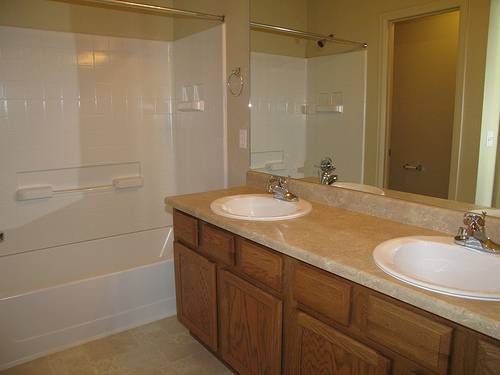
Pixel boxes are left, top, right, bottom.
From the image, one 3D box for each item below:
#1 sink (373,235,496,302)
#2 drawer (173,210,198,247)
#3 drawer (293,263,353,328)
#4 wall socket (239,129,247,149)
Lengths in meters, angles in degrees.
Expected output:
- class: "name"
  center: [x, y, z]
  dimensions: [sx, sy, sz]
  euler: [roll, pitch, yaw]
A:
- class: "sink"
  center: [0.729, 0.327, 1.443]
  dimensions: [0.427, 0.147, 0.449]
  euler: [9, 16, 36]
- class: "drawer"
  center: [-0.363, 0.254, 2.336]
  dimensions: [0.146, 0.186, 0.273]
  euler: [-8, 12, -43]
- class: "drawer"
  center: [0.366, 0.442, 1.600]
  dimensions: [0.189, 0.223, 0.348]
  euler: [-9, 10, -37]
- class: "wall socket"
  center: [-0.052, -0.375, 2.749]
  dimensions: [0.018, 0.181, 0.126]
  euler: [-6, 10, -33]
